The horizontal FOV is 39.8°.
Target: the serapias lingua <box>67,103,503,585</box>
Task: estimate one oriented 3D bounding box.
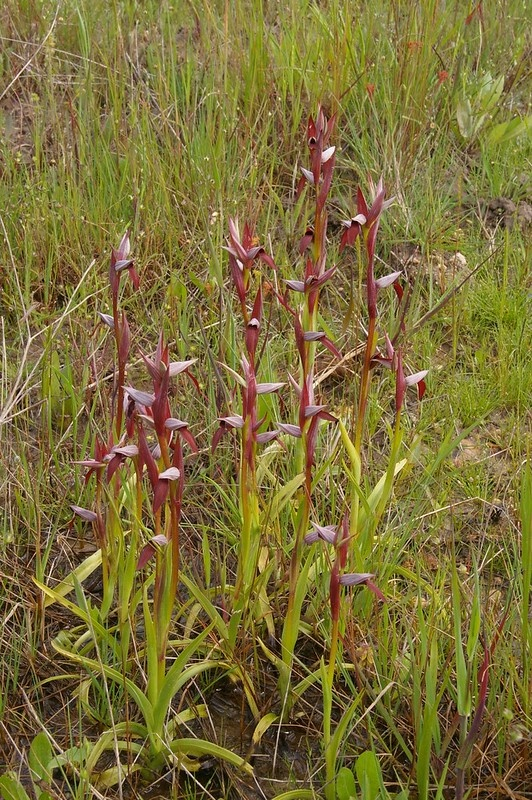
[{"bbox_3d":[0.030,-0.163,2.090,0.712,1.446,0.763,-5,18,-22],"label":"serapias lingua"}]
